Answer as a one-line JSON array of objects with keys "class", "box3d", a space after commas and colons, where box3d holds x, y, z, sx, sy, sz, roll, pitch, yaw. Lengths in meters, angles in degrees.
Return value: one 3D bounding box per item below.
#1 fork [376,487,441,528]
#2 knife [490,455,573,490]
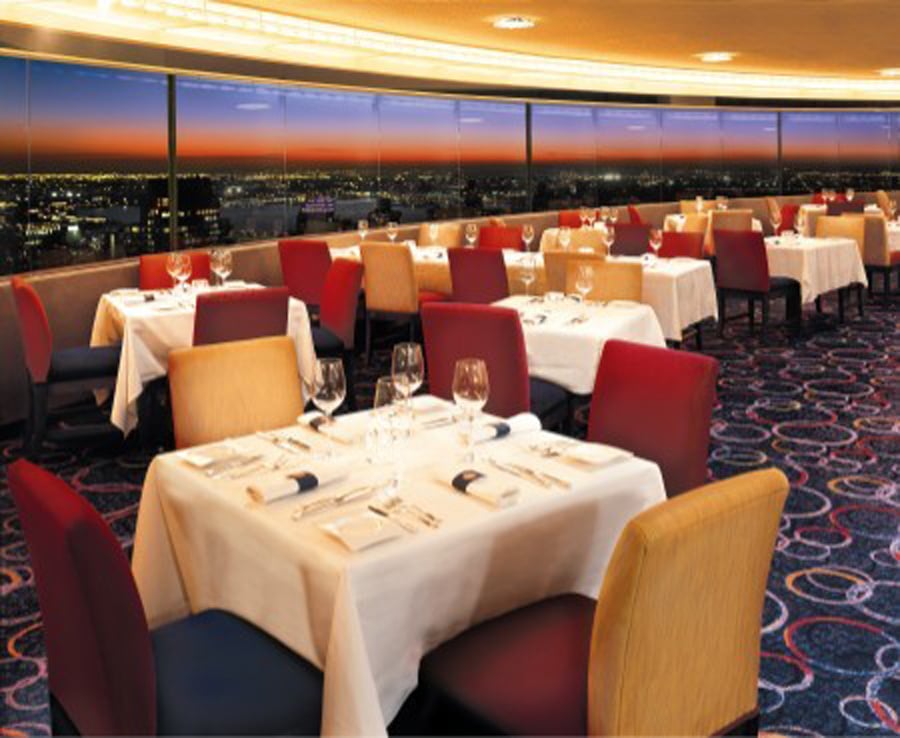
[{"class": "fork", "box3d": [-0.118, 0.369, 1.584, 0.063, 0.028, 0.198, -13, 17, -32]}, {"class": "knife", "box3d": [0.239, 0.285, 1.832, 0.079, 0.018, 0.251, -11, 17, -21]}]
